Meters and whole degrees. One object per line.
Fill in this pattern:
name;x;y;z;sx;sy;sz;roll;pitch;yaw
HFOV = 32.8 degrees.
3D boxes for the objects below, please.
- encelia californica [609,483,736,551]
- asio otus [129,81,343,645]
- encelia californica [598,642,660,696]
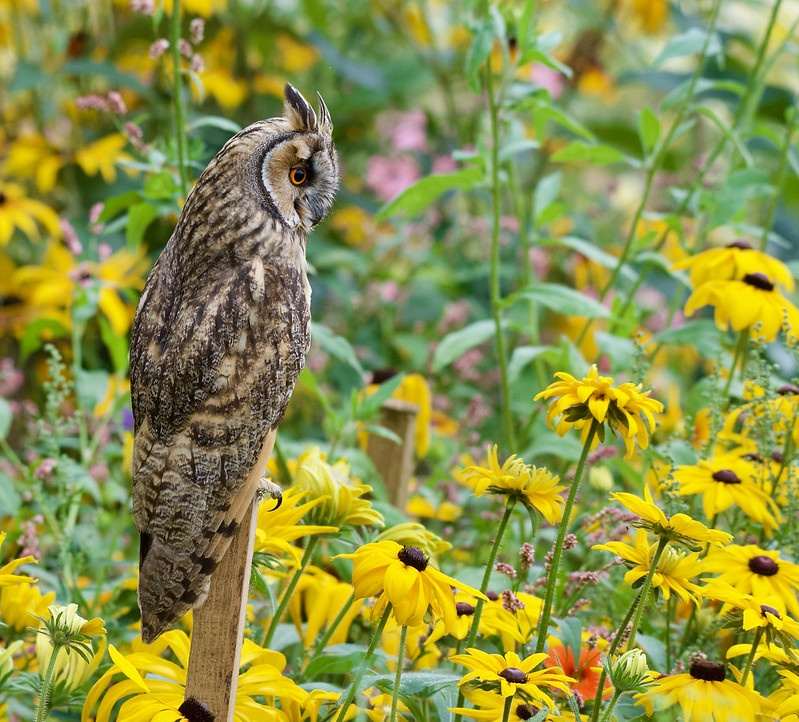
encelia californica;0.442;0.263;2.162;0.189;0.192;0.062;25;-89;-23
asio otus;-0.354;-0.018;2.334;0.536;0.378;0.837;-10;-67;-30
encelia californica;0.362;0.500;2.129;0.078;0.091;0.172;0;-46;14
